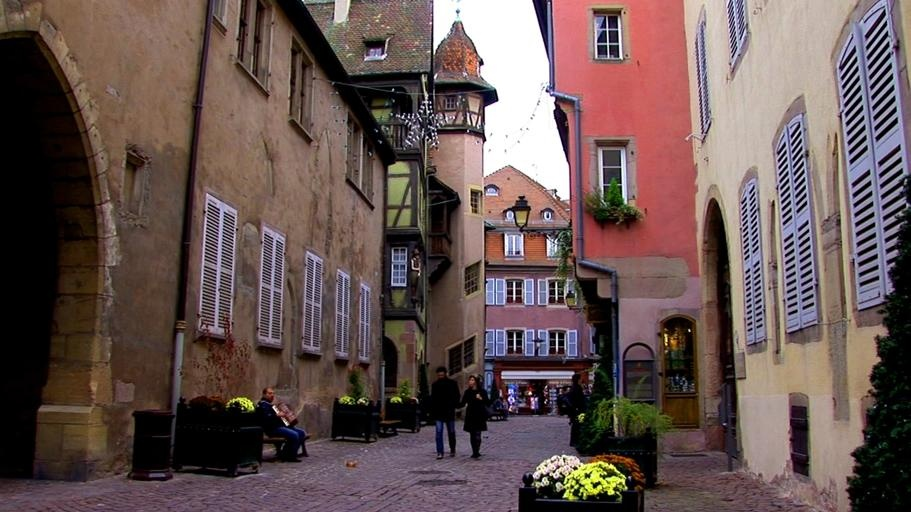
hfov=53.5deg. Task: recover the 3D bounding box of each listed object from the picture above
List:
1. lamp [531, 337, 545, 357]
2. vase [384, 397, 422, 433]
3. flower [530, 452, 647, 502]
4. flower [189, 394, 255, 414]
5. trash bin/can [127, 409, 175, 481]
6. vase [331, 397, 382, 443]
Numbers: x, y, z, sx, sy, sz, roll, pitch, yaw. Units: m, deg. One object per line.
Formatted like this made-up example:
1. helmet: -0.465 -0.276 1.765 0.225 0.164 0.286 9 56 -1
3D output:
1. lamp: 5.528 5.916 59.862 0.874 1.189 0.340 -1 -12 6
2. vase: -1.683 4.989 28.970 1.306 1.087 0.927 -1 -5 19
3. flower: 1.740 3.062 12.530 0.891 0.360 0.867 -8 -12 44
4. flower: -4.517 2.809 17.187 0.799 0.271 0.614 2 -15 -3
5. trash bin/can: -5.614 3.405 16.704 1.037 1.300 1.046 0 -5 3
6. vase: -2.643 4.389 24.214 1.251 1.121 0.899 2 -13 -9
